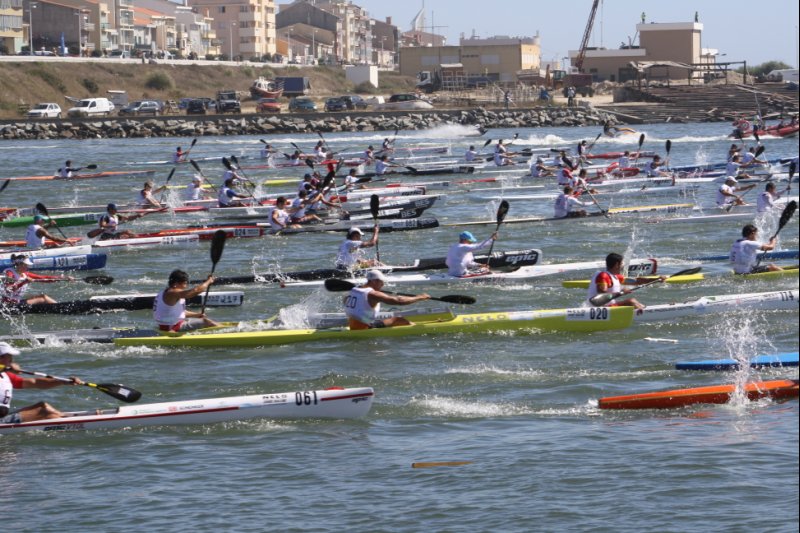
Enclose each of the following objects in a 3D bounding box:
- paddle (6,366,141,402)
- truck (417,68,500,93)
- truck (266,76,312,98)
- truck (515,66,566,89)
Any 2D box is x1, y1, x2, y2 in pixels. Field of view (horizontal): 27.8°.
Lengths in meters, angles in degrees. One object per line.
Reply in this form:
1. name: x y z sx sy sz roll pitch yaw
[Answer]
1. paddle: -10.045 3.606 49.857 4.600 0.520 0.457 9 11 -7
2. truck: 5.103 -14.867 133.372 5.749 1.509 2.919 -3 9 -8
3. truck: -8.186 -13.640 123.244 3.533 1.452 1.575 0 14 6
4. truck: 11.628 -15.909 133.686 3.224 1.351 4.590 1 2 14
